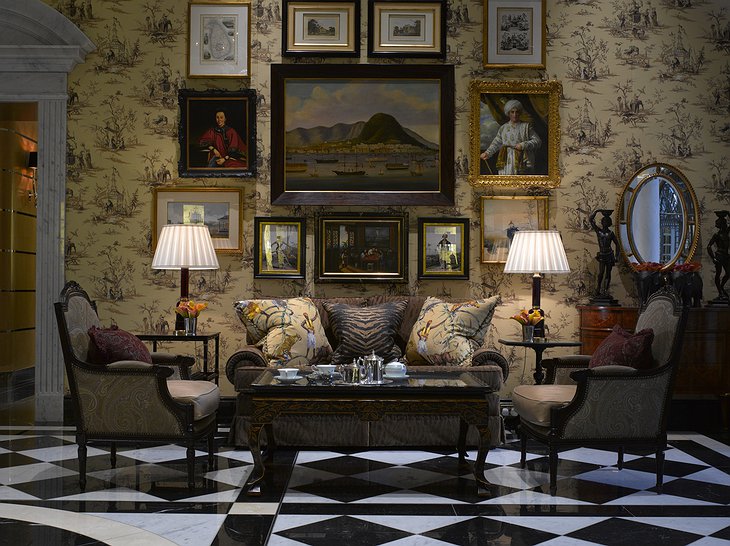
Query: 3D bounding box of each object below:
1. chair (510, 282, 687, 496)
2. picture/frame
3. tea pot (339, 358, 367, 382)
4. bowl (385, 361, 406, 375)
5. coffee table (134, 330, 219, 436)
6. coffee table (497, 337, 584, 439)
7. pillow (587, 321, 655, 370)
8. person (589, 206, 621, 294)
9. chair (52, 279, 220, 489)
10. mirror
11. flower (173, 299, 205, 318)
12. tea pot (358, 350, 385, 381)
[{"bbox_3d":[1.666,0.810,4.954,1.074,1.299,0.551,0,7,-3],"label":"chair"},{"bbox_3d":[-0.135,-1.223,6.569,2.751,1.904,0.066,0,-4,-1],"label":"picture/frame"},{"bbox_3d":[-0.091,0.681,4.915,0.184,0.154,0.134,0,1,-9],"label":"tea pot"},{"bbox_3d":[0.215,0.674,5.005,0.111,0.072,0.103,1,-3,0],"label":"bowl"},{"bbox_3d":[-1.607,0.879,6.249,0.716,0.711,0.547,0,-2,1],"label":"coffee table"},{"bbox_3d":[1.445,0.946,6.028,0.768,0.710,0.731,0,-6,4],"label":"coffee table"},{"bbox_3d":[1.845,0.544,5.008,0.101,0.332,0.331,32,-10,-21],"label":"pillow"},{"bbox_3d":[2.215,-0.197,6.481,0.265,0.792,0.355,1,7,7],"label":"person"},{"bbox_3d":[-1.636,0.775,5.004,1.070,1.329,0.614,0,7,-3],"label":"chair"},{"bbox_3d":[2.717,-0.479,6.548,1.095,1.499,0.081,0,-2,-8],"label":"mirror"},{"bbox_3d":[-1.558,0.296,6.196,0.189,0.123,0.196,0,-3,29],"label":"flower"},{"bbox_3d":[0.020,0.672,4.984,0.138,0.206,0.207,6,-9,-44],"label":"tea pot"}]
